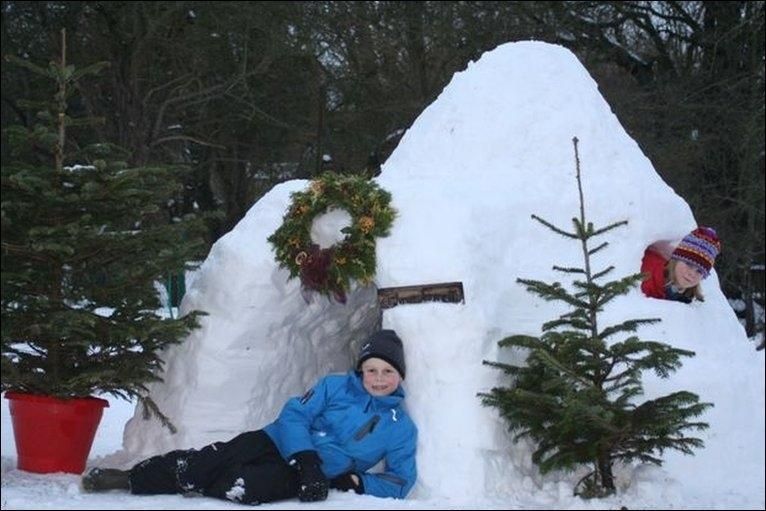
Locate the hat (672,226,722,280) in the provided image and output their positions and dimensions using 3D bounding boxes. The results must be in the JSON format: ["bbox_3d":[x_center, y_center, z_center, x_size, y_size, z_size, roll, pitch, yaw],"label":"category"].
[{"bbox_3d":[3.745,-0.080,11.382,0.462,0.544,0.596,31,1,-9],"label":"hat"}]

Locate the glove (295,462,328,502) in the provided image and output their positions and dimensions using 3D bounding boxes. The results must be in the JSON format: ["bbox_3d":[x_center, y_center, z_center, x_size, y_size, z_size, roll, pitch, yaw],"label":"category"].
[{"bbox_3d":[-0.770,2.441,10.335,0.243,0.427,0.438,-6,-41,-21],"label":"glove"}]

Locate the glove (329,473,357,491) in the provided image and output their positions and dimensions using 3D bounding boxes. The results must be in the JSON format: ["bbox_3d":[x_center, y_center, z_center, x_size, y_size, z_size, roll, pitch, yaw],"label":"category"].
[{"bbox_3d":[-0.433,2.501,10.577,0.316,0.193,0.040,-1,-9,12],"label":"glove"}]
